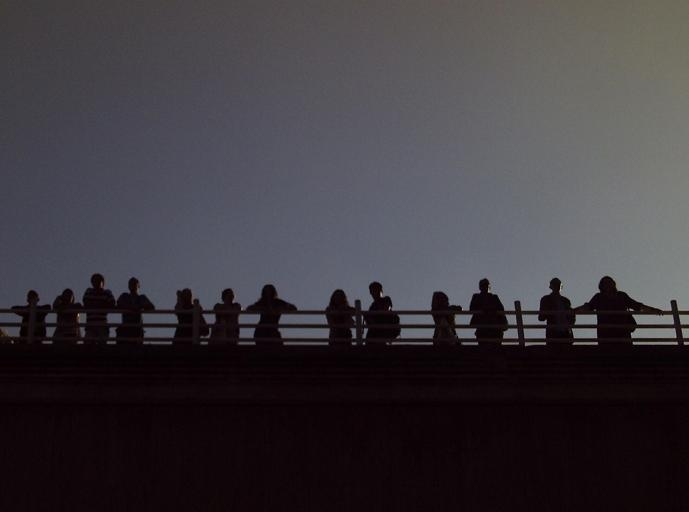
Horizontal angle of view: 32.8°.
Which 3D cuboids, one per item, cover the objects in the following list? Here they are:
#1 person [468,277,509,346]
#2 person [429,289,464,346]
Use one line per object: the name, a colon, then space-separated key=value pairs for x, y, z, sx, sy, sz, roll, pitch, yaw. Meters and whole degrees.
person: x=2.130 y=0.950 z=17.178 sx=0.592 sy=0.376 sz=1.193 roll=-1 pitch=-69 yaw=8
person: x=1.466 y=0.829 z=16.658 sx=0.429 sy=1.209 sz=0.937 roll=-2 pitch=-32 yaw=4
